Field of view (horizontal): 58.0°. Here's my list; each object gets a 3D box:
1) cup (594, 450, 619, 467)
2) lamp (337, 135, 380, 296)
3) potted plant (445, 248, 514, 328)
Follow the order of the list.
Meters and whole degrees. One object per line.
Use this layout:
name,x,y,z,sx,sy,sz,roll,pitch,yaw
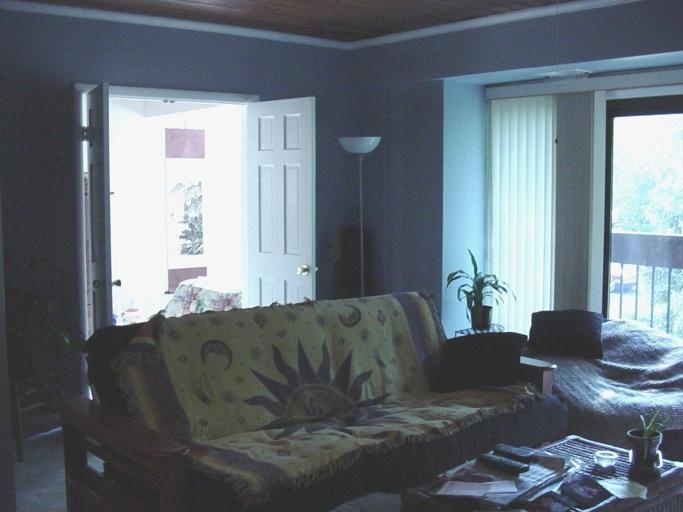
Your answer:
cup,1.231,0.944,2.855,0.100,0.047,0.077,-1,11,11
lamp,0.214,-0.365,5.989,0.402,1.583,0.610,-3,11,1
potted plant,1.184,0.283,5.467,0.590,0.703,0.703,-1,-6,-4
